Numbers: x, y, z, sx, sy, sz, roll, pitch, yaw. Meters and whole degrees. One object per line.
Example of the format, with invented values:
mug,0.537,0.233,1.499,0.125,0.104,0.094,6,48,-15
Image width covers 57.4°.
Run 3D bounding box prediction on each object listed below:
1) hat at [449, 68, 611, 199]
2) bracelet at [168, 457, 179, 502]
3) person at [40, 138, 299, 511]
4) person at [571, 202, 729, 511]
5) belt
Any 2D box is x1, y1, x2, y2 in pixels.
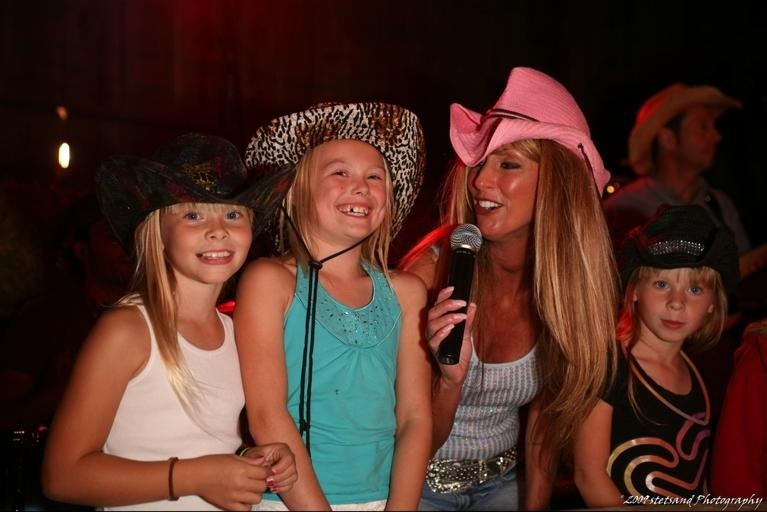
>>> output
hat,0.815,-0.731,3.748,0.858,0.472,0.734,-1,24,-29
bracelet,-0.839,0.890,2.802,0.037,0.168,0.041,1,-2,-16
person,-0.858,0.250,2.979,0.985,1.588,0.394,0,-2,-2
person,1.338,0.464,3.411,0.835,1.441,0.310,1,-2,-13
belt,0.438,1.064,3.455,0.281,0.118,0.209,-6,2,1
